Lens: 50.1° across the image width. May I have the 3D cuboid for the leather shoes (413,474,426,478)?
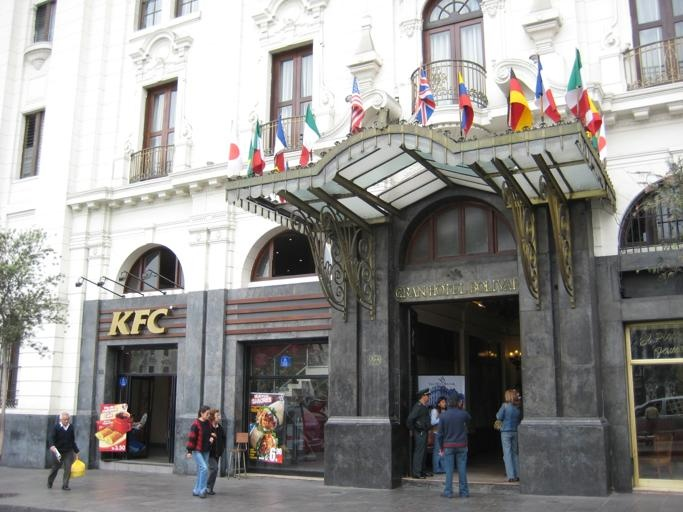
[{"bbox_3d":[1.998,5.533,18.330,0.235,0.109,0.117,-15,-15,30],"label":"leather shoes"}]

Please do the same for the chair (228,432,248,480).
[{"bbox_3d":[-2.793,5.487,20.116,0.506,1.206,0.510,3,-14,-17],"label":"chair"}]

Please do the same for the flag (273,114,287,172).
[{"bbox_3d":[-1.484,-2.764,17.903,0.267,1.866,0.332,-11,-30,18],"label":"flag"}]

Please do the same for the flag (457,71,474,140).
[{"bbox_3d":[2.735,-3.354,15.912,0.292,1.580,0.263,-7,-30,13],"label":"flag"}]

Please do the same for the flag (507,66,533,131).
[{"bbox_3d":[3.689,-3.137,15.071,0.455,1.430,0.526,-4,-13,11],"label":"flag"}]

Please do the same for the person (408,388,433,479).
[{"bbox_3d":[1.996,4.517,18.552,0.571,2.161,0.829,-2,-13,5],"label":"person"}]

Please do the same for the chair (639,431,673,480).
[{"bbox_3d":[7.197,4.548,16.725,0.692,1.148,0.758,3,-6,-17],"label":"chair"}]

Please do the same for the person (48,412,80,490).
[{"bbox_3d":[-7.030,4.953,18.501,0.660,1.894,0.994,4,-14,-22],"label":"person"}]

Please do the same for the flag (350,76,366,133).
[{"bbox_3d":[0.391,-3.638,17.709,0.299,1.555,0.263,3,-25,0],"label":"flag"}]

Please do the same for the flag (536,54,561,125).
[{"bbox_3d":[4.486,-3.577,15.910,0.429,1.613,0.747,-5,-14,16],"label":"flag"}]

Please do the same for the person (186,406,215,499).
[{"bbox_3d":[-3.300,4.602,17.168,0.495,2.073,0.684,-2,-13,4],"label":"person"}]

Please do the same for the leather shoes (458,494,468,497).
[{"bbox_3d":[2.806,5.422,16.484,0.201,0.072,0.204,-2,-15,0],"label":"leather shoes"}]

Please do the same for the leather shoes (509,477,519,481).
[{"bbox_3d":[4.140,5.369,17.512,0.241,0.099,0.286,-5,-15,12],"label":"leather shoes"}]

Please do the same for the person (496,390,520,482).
[{"bbox_3d":[4.136,4.373,17.779,0.525,2.135,0.359,-4,-13,14],"label":"person"}]

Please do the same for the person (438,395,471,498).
[{"bbox_3d":[2.587,4.319,16.671,0.694,2.279,0.657,-3,-13,7],"label":"person"}]

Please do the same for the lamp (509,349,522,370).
[{"bbox_3d":[6.832,4.040,28.570,0.205,0.784,1.024,-8,-16,29],"label":"lamp"}]

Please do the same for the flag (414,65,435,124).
[{"bbox_3d":[1.947,-3.738,17.078,0.436,1.875,0.870,-3,-13,7],"label":"flag"}]

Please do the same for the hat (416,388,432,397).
[{"bbox_3d":[2.162,3.609,19.162,0.271,0.115,0.226,-21,-25,13],"label":"hat"}]

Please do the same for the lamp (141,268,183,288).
[{"bbox_3d":[-5.494,0.717,22.618,1.456,0.461,0.121,21,5,27],"label":"lamp"}]

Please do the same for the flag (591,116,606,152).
[{"bbox_3d":[5.824,-2.731,16.525,0.309,1.068,0.334,20,-51,16],"label":"flag"}]

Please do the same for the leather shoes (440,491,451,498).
[{"bbox_3d":[2.412,5.411,16.511,0.244,0.114,0.214,-2,-15,0],"label":"leather shoes"}]
